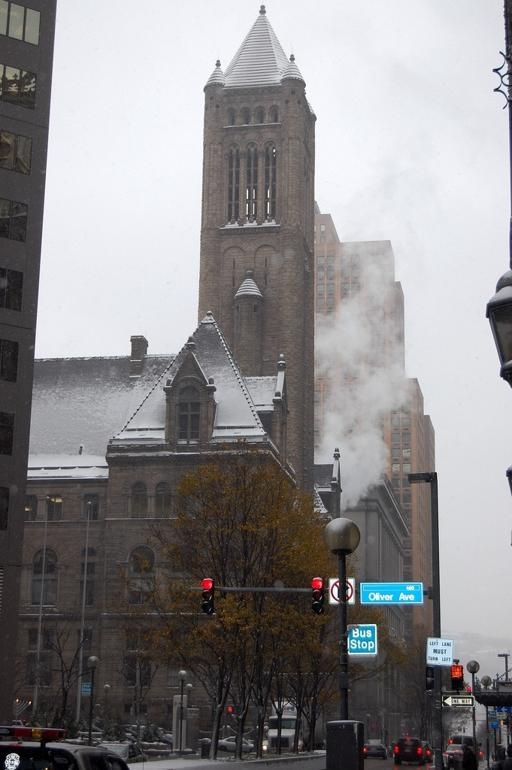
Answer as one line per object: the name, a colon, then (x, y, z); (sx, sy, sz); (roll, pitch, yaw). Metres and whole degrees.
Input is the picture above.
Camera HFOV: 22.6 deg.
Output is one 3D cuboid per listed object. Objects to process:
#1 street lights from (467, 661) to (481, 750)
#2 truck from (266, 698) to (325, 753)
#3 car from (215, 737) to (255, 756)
street lights: (7.825, 11.566, 46.444); (0.439, 3.031, 0.441); (-9, -30, 23)
truck: (2.235, 19.920, 73.535); (2.247, 3.405, 6.539); (-4, -20, 15)
car: (-1.051, 19.042, 67.479); (1.788, 0.773, 6.225); (-1, -15, -1)
